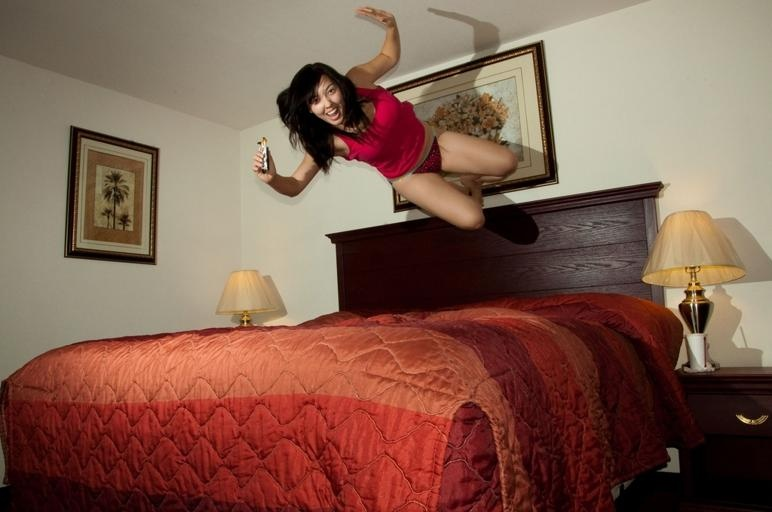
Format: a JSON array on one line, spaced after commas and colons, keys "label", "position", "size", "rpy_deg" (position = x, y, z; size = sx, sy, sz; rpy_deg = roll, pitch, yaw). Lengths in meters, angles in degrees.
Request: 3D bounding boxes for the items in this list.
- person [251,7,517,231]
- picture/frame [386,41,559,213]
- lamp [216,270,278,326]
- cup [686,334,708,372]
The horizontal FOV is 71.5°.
[{"label": "person", "position": [0.070, -1.015, 3.757], "size": [1.214, 1.199, 0.501], "rpy_deg": [9, 14, -17]}, {"label": "picture/frame", "position": [0.605, -0.967, 4.164], "size": [1.283, 1.100, 0.057], "rpy_deg": [-8, -9, 23]}, {"label": "lamp", "position": [-1.235, 0.387, 4.731], "size": [0.487, 0.505, 0.504], "rpy_deg": [-5, -5, 36]}, {"label": "cup", "position": [1.791, 0.552, 3.078], "size": [0.117, 0.204, 0.106], "rpy_deg": [-1, 4, 21]}]
